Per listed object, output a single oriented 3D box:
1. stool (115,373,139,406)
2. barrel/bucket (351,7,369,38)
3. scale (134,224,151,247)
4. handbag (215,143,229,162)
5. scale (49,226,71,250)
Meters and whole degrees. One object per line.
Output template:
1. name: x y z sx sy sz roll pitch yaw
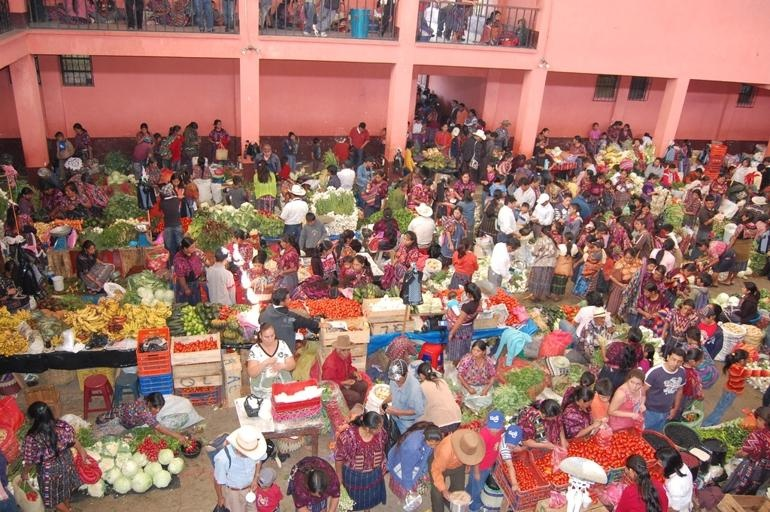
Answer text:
1. stool: -4.854 2.521 10.273 0.580 0.623 0.600 0 56 -20
2. barrel/bucket: -0.664 -7.498 17.639 0.824 0.932 0.831 2 30 -1
3. scale: -5.787 -0.489 13.045 0.373 0.492 0.372 -8 21 -24
4. handbag: -5.604 -3.497 18.640 0.391 0.609 0.309 -4 20 -14
5. scale: -7.609 -0.415 12.873 0.483 0.476 0.362 -11 22 -31
